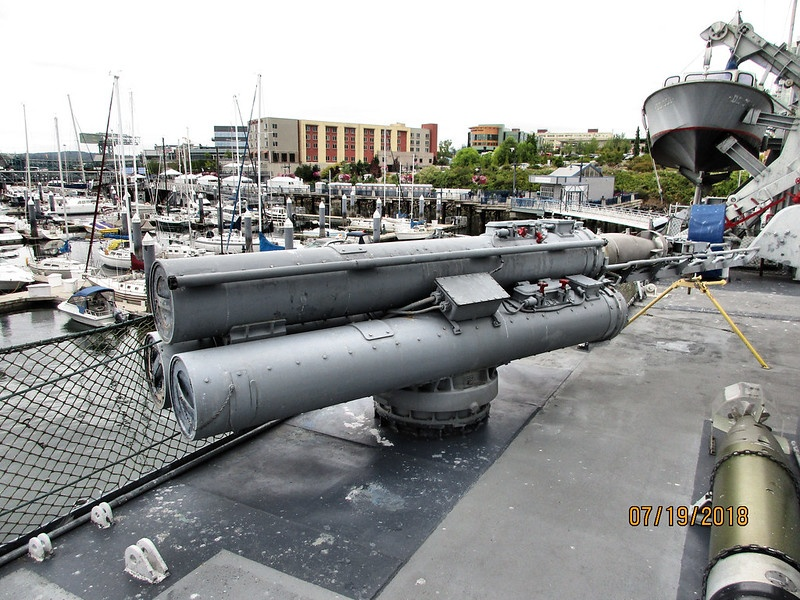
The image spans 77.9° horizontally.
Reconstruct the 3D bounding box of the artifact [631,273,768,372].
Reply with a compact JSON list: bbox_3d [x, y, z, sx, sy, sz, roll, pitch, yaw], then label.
[{"bbox_3d":[5.106,0.207,8.346,1.938,1.258,2.311,13,10,42],"label":"artifact"}]

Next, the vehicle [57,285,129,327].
[{"bbox_3d":[-12.424,0.301,19.805,2.574,1.047,1.228,16,8,-7],"label":"vehicle"}]
